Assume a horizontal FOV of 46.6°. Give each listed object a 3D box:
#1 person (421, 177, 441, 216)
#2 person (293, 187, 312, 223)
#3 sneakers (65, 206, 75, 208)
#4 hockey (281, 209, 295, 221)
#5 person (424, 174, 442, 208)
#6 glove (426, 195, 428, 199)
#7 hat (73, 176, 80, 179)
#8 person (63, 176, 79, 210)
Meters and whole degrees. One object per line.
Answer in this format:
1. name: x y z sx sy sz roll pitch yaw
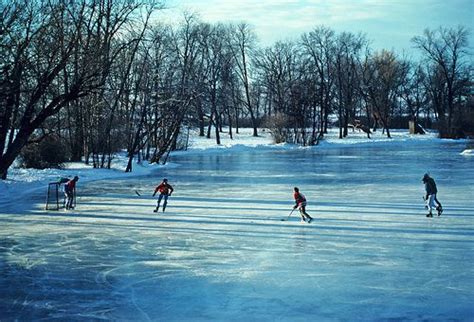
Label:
1. person: 7.501 1.301 21.097 0.618 1.620 1.177 -2 -2 20
2. person: 2.520 1.628 21.014 0.725 1.305 2.207 -1 -3 8
3. sneakers: -6.829 1.881 22.647 0.382 0.151 0.116 1 5 -8
4. hockey: 1.942 2.083 21.087 0.145 0.483 0.501 34 21 21
5. person: 8.040 1.253 22.643 0.427 1.139 0.862 -15 10 9
6. glove: 7.210 1.373 20.912 0.093 0.115 0.043 5 -2 14
7. hat: -7.229 0.724 24.786 0.184 0.057 0.192 6 9 42
8. person: -7.081 1.383 23.452 0.750 1.542 0.564 0 37 -19
